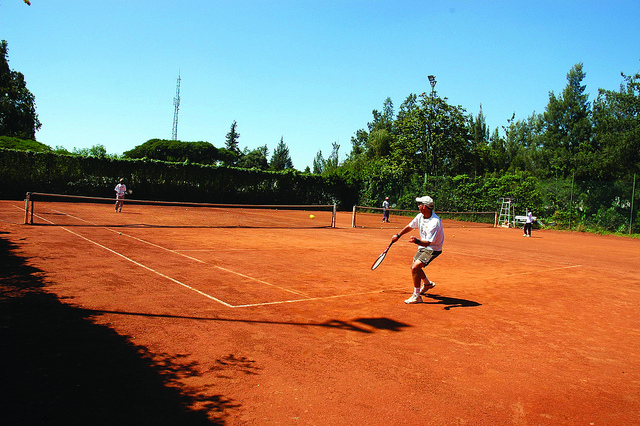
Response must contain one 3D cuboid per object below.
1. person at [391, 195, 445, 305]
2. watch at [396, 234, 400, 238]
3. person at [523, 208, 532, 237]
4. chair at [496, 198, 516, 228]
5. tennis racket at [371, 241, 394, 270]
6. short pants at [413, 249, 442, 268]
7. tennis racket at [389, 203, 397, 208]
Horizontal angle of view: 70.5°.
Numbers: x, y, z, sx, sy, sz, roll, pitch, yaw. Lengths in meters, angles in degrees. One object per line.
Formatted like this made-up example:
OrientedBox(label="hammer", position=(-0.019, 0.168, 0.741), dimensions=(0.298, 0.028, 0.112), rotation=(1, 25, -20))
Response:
OrientedBox(label="person", position=(2.021, 0.711, 8.939), dimensions=(0.787, 2.121, 1.138), rotation=(3, 0, 14))
OrientedBox(label="watch", position=(1.597, 0.464, 9.221), dimensions=(0.098, 0.034, 0.106), rotation=(9, -4, 29))
OrientedBox(label="person", position=(11.522, 0.592, 25.101), dimensions=(0.411, 1.614, 1.259), rotation=(3, 0, 25))
OrientedBox(label="chair", position=(14.063, -0.067, 33.165), dimensions=(1.573, 2.542, 1.788), rotation=(0, 2, 11))
OrientedBox(label="tennis racket", position=(1.782, 1.226, 12.839), dimensions=(0.226, 0.908, 0.066), rotation=(27, 33, -4))
OrientedBox(label="short pants", position=(2.111, 0.789, 8.927), dimensions=(0.484, 0.414, 0.306), rotation=(6, -34, 47))
OrientedBox(label="tennis racket", position=(6.789, -0.697, 41.439), dimensions=(0.294, 0.396, 0.931), rotation=(3, 0, -40))
